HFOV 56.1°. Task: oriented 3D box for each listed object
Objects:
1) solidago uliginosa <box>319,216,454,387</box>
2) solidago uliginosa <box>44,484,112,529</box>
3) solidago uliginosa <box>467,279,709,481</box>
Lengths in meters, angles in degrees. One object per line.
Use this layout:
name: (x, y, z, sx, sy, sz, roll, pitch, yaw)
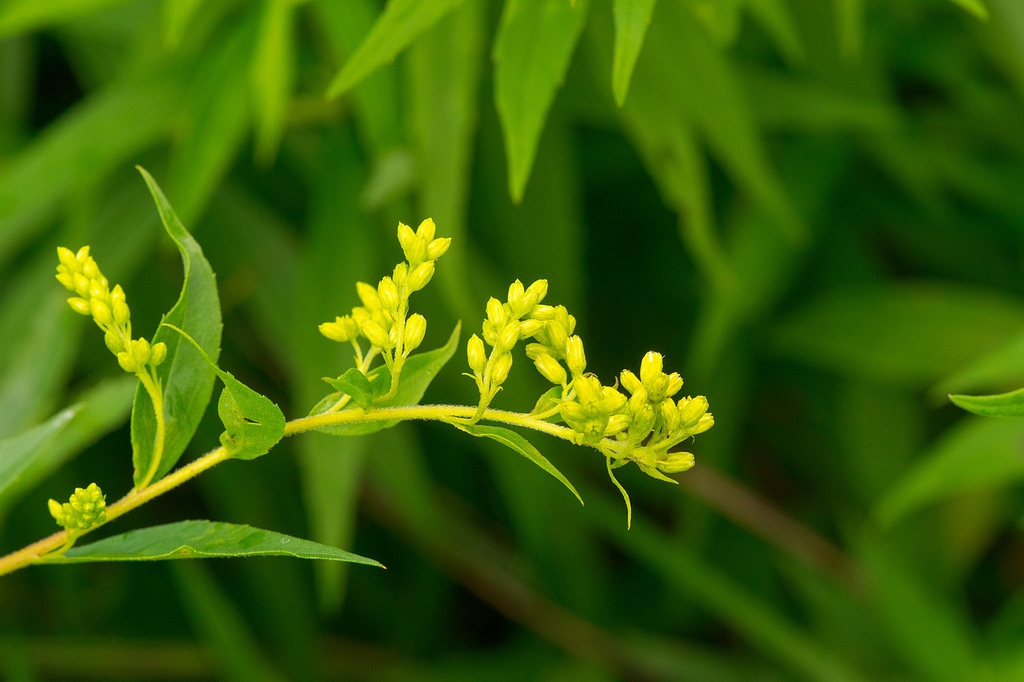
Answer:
solidago uliginosa: (-0.178, -0.063, 1.288, 0.159, 0.135, 0.260, 25, -56, 15)
solidago uliginosa: (-0.470, 0.179, 1.064, 0.076, 0.043, 0.048, -4, -23, 37)
solidago uliginosa: (0.066, 0.063, 1.082, 0.280, 0.172, 0.127, 31, -66, 4)
